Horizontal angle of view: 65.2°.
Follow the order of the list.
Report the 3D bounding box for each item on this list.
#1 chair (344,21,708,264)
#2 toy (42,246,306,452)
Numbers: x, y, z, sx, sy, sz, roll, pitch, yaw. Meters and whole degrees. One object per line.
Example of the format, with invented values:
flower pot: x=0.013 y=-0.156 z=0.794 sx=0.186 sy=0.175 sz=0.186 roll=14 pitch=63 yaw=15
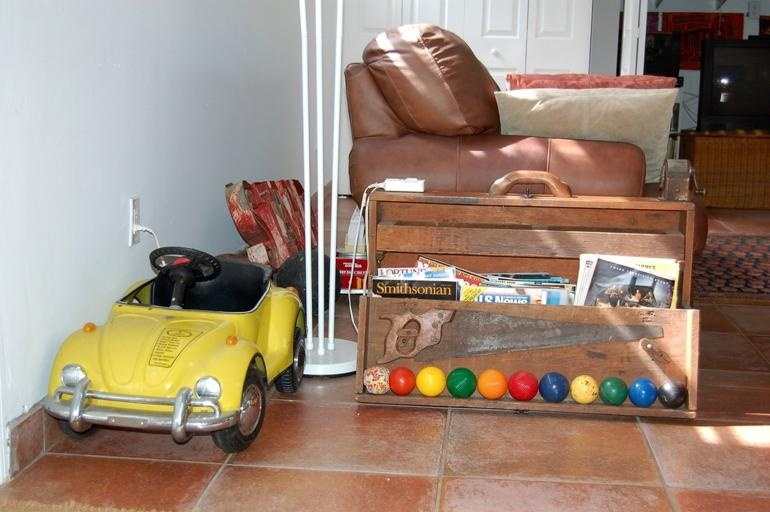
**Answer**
chair: x=0.525 y=-0.520 z=2.938 sx=1.425 sy=0.912 sz=1.511 roll=11 pitch=23 yaw=18
toy: x=-0.571 y=0.212 z=1.791 sx=0.452 sy=0.382 sz=0.705 roll=6 pitch=19 yaw=6
